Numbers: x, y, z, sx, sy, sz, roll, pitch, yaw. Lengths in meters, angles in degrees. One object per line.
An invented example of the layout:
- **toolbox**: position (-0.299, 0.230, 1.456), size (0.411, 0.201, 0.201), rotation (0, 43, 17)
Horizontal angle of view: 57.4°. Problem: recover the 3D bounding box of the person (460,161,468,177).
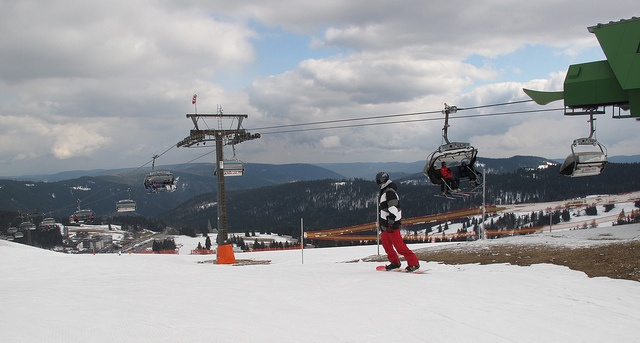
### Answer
- **person**: position (15.998, -0.341, 64.680), size (1.193, 1.388, 0.396), rotation (4, 1, -23)
